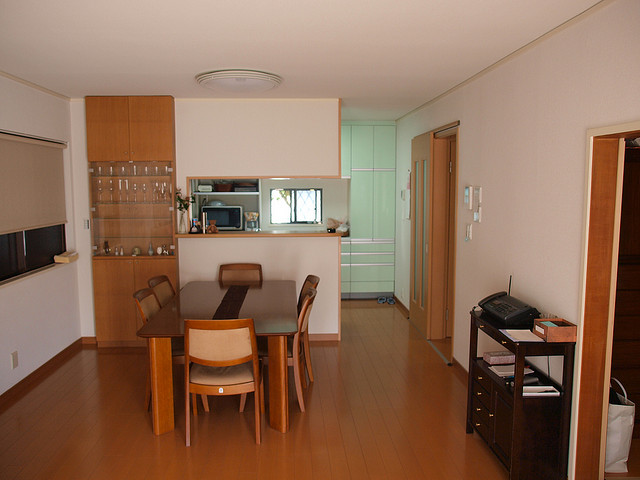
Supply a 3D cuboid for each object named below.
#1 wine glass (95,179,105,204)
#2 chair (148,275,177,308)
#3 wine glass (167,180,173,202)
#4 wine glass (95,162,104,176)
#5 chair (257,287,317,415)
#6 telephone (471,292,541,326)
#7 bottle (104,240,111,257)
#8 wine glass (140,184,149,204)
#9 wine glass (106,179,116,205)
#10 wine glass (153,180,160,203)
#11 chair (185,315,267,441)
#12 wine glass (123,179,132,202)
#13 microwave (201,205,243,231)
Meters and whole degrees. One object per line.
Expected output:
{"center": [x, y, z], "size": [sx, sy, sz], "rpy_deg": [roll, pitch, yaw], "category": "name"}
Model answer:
{"center": [-2.888, -0.642, 6.250], "size": [0.117, 0.316, 0.062], "rpy_deg": [-3, 12, -14], "category": "wine glass"}
{"center": [-1.730, 0.526, 5.217], "size": [0.267, 0.470, 0.261], "rpy_deg": [2, 13, 8], "category": "chair"}
{"center": [-1.945, -0.632, 6.182], "size": [0.046, 0.266, 0.134], "rpy_deg": [-7, 14, -32], "category": "wine glass"}
{"center": [-2.886, -0.934, 6.228], "size": [0.100, 0.168, 0.061], "rpy_deg": [-3, 12, -16], "category": "wine glass"}
{"center": [-0.400, 0.883, 4.743], "size": [0.597, 0.845, 0.563], "rpy_deg": [7, 11, 8], "category": "chair"}
{"center": [1.614, 0.600, 4.137], "size": [0.401, 0.197, 0.564], "rpy_deg": [-2, 7, -8], "category": "telephone"}
{"center": [-2.806, 0.091, 6.267], "size": [0.067, 0.175, 0.147], "rpy_deg": [-5, 13, -25], "category": "bottle"}
{"center": [-2.311, -0.607, 6.232], "size": [0.099, 0.250, 0.039], "rpy_deg": [1, 12, 6], "category": "wine glass"}
{"center": [-2.749, -0.637, 6.252], "size": [0.124, 0.324, 0.046], "rpy_deg": [0, 12, 1], "category": "wine glass"}
{"center": [-2.144, -0.677, 6.228], "size": [0.083, 0.226, 0.035], "rpy_deg": [3, 12, 13], "category": "wine glass"}
{"center": [-0.881, 1.174, 4.460], "size": [0.780, 1.250, 0.879], "rpy_deg": [-2, 13, -19], "category": "chair"}
{"center": [-2.523, -0.652, 6.234], "size": [0.085, 0.291, 0.043], "rpy_deg": [1, 12, 4], "category": "wine glass"}
{"center": [-1.320, -0.323, 6.541], "size": [0.532, 0.368, 0.321], "rpy_deg": [0, 3, -4], "category": "microwave"}
